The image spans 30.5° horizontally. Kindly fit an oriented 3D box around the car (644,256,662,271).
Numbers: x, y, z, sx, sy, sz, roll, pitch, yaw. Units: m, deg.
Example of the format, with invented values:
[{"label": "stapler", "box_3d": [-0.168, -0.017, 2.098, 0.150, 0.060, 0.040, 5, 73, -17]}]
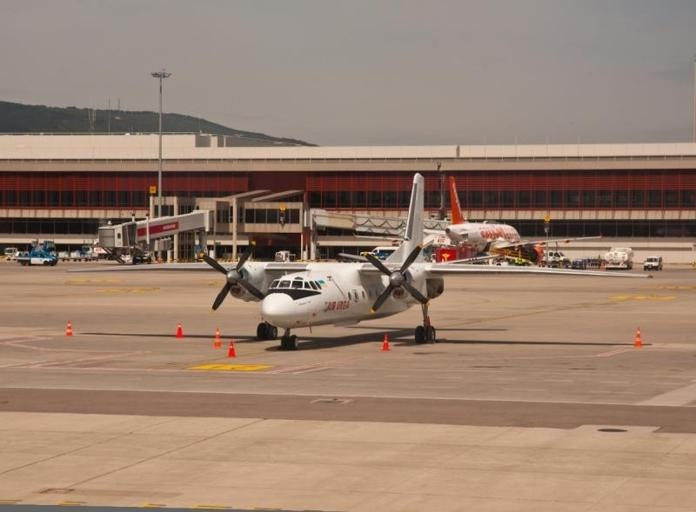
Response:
[{"label": "car", "box_3d": [29.689, 0.882, 124.535, 1.480, 0.911, 2.714, -2, -4, 18]}]
